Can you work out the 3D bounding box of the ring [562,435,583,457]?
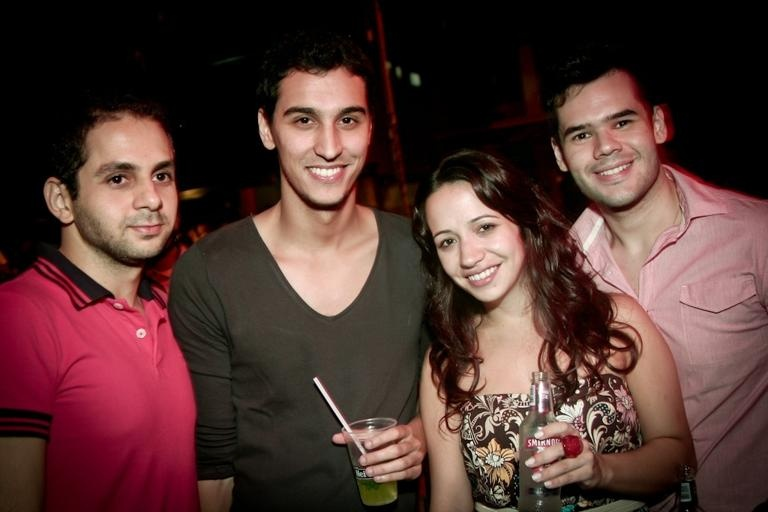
[{"bbox_3d":[0.947,0.967,3.053,0.100,0.120,0.039,-10,-2,9],"label":"ring"}]
